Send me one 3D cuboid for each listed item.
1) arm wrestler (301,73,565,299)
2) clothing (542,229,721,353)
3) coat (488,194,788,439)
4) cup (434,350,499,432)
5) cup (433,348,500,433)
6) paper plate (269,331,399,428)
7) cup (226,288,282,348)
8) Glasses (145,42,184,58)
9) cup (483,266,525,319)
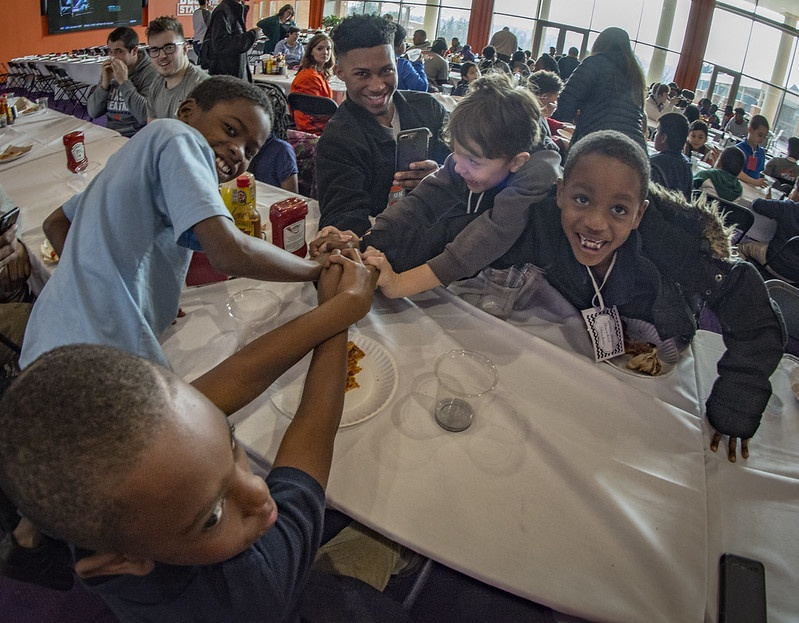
[{"bbox_3d":[0.169,-0.405,1.693,0.928,0.503,0.402,-30,41,-23],"label":"arm wrestler"},{"bbox_3d":[0.708,-0.096,1.568,0.393,0.414,0.168,27,64,31],"label":"clothing"},{"bbox_3d":[0.866,0.106,1.642,0.842,0.329,0.615,24,45,22],"label":"coat"},{"bbox_3d":[0.155,0.225,1.307,0.187,0.142,0.140,-31,52,-32],"label":"cup"},{"bbox_3d":[0.178,0.171,1.369,0.124,0.132,0.168,10,-9,-36],"label":"cup"},{"bbox_3d":[-0.103,0.181,1.224,0.207,0.032,0.206,-30,50,-26],"label":"paper plate"},{"bbox_3d":[-0.416,0.015,1.477,0.160,0.129,0.149,6,46,-6],"label":"cup"},{"bbox_3d":[-1.494,-1.647,3.212,0.199,0.128,0.189,-1,21,-23],"label":"Glasses"},{"bbox_3d":[0.342,-0.065,1.685,0.128,0.174,0.060,22,-7,-22],"label":"cup"}]
